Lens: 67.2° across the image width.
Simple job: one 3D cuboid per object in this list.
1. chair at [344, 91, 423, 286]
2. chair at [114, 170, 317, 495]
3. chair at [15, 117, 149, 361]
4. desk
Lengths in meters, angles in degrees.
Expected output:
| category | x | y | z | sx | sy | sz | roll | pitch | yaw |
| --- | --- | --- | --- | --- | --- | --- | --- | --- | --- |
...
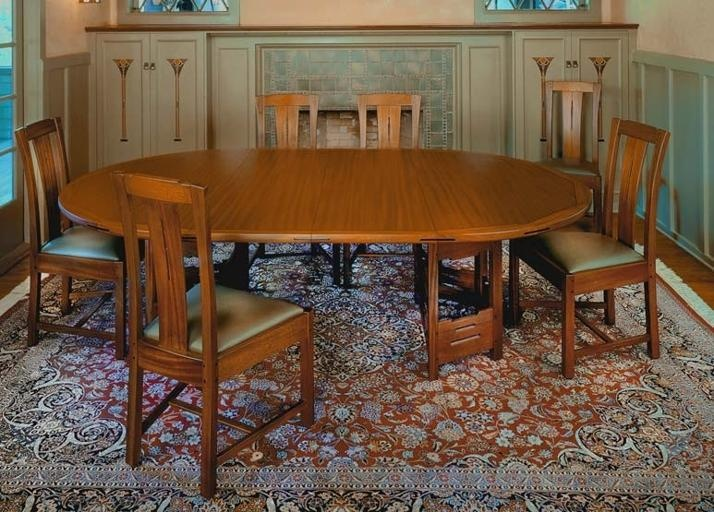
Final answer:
| category | x | y | z | sx | sy | sz | roll | pitch | yaw |
| --- | --- | --- | --- | --- | --- | --- | --- | --- | --- |
| chair | 0.235 | -0.753 | 4.376 | 0.691 | 1.149 | 0.606 | 6 | 28 | 13 |
| chair | -0.568 | 0.253 | 2.063 | 0.512 | 1.155 | 0.593 | 10 | 22 | 29 |
| chair | -1.448 | -0.100 | 3.007 | 0.819 | 1.108 | 0.834 | 22 | 19 | 34 |
| desk | 0.052 | -0.127 | 3.126 | 1.409 | 0.420 | 2.284 | 17 | 9 | 39 |
